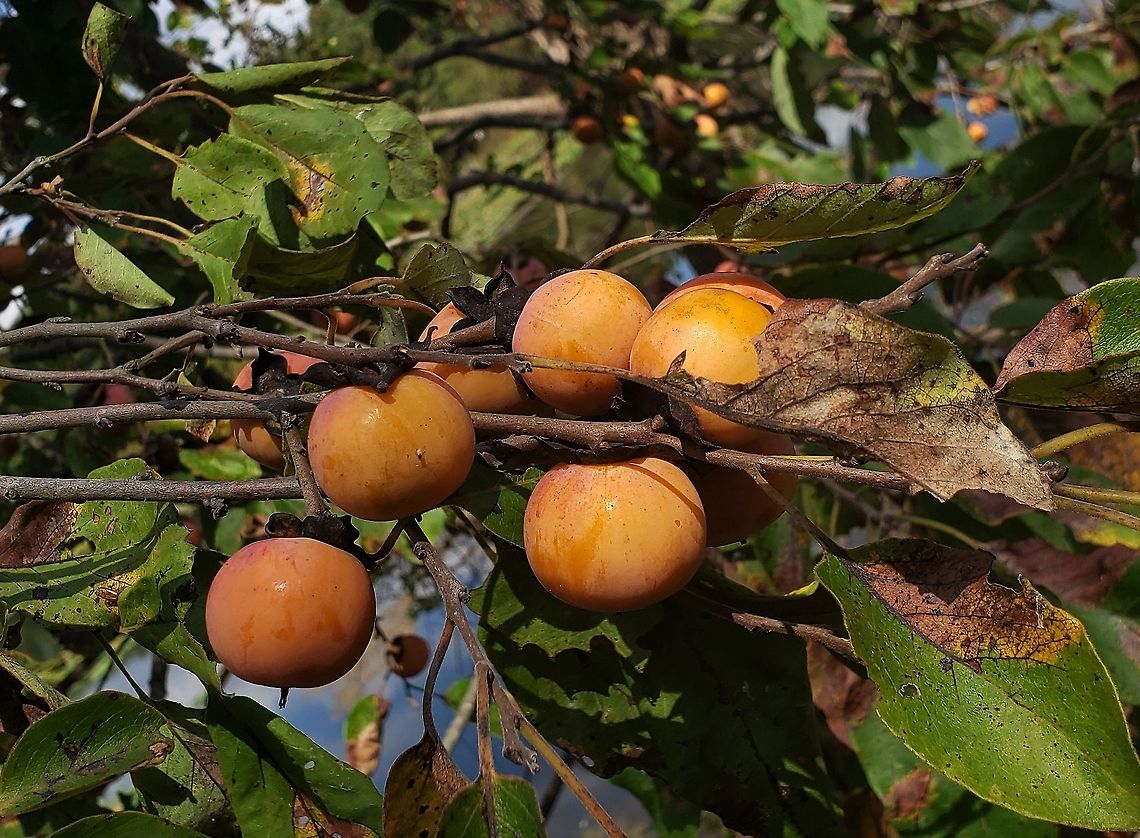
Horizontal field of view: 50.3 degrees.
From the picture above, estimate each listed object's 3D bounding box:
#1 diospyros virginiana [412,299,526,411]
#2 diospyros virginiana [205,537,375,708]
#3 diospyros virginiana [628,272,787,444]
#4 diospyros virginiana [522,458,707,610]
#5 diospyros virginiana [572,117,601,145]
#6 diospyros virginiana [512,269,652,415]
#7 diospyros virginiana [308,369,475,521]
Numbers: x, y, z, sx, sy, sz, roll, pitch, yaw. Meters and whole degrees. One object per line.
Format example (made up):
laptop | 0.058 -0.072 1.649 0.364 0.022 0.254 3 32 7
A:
diospyros virginiana | -0.162 -0.096 2.243 0.191 0.193 0.220 -9 75 34
diospyros virginiana | -0.533 0.322 2.116 0.276 0.260 0.233 4 101 -22
diospyros virginiana | 0.225 -0.083 2.015 0.266 0.261 0.289 2 76 2
diospyros virginiana | 0.074 0.188 2.021 0.297 0.122 0.240 -1 68 -4
diospyros virginiana | 0.067 -0.968 4.031 0.078 0.079 0.087 -18 88 23
diospyros virginiana | 0.025 -0.155 2.137 0.247 0.265 0.239 3 36 6
diospyros virginiana | -0.305 0.046 2.009 0.262 0.250 0.248 -11 80 -16
